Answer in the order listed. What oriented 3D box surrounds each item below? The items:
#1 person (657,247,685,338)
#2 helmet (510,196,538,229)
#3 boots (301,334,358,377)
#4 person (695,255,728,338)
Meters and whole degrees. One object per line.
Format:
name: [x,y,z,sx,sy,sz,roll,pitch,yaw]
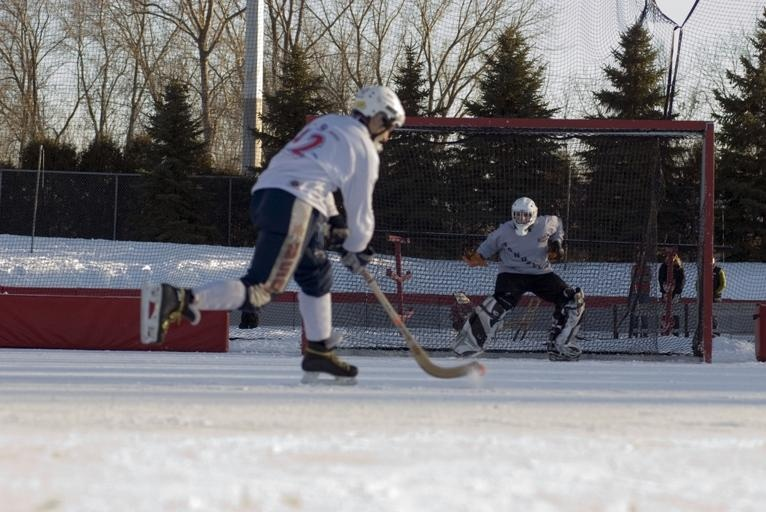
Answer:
person: [5.004,0.569,20.037,0.412,1.483,0.430,0,-3,41]
helmet: [2.205,-0.687,18.007,0.390,0.463,0.484,0,5,10]
boots: [-0.719,1.430,16.469,0.861,0.593,0.298,4,4,6]
person: [5.651,0.600,19.828,0.388,1.440,3.995,4,5,17]
